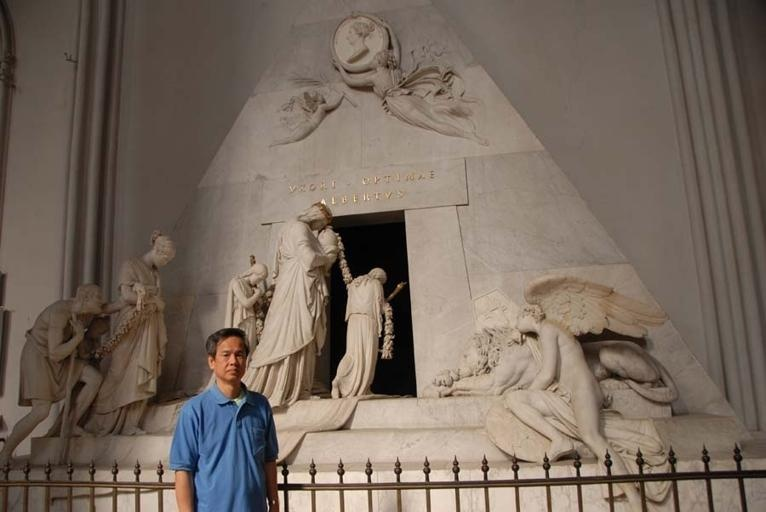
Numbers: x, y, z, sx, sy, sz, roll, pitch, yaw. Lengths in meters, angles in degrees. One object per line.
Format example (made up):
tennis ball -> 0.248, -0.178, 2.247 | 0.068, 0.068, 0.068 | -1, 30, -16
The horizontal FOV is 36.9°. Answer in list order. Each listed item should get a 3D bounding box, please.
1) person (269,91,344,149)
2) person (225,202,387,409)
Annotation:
person -> -1.162, -2.044, 16.749 | 1.083, 0.658, 0.220 | -35, -27, 1
person -> -1.136, 0.618, 15.047 | 1.077, 2.680, 0.793 | 6, -30, -7
